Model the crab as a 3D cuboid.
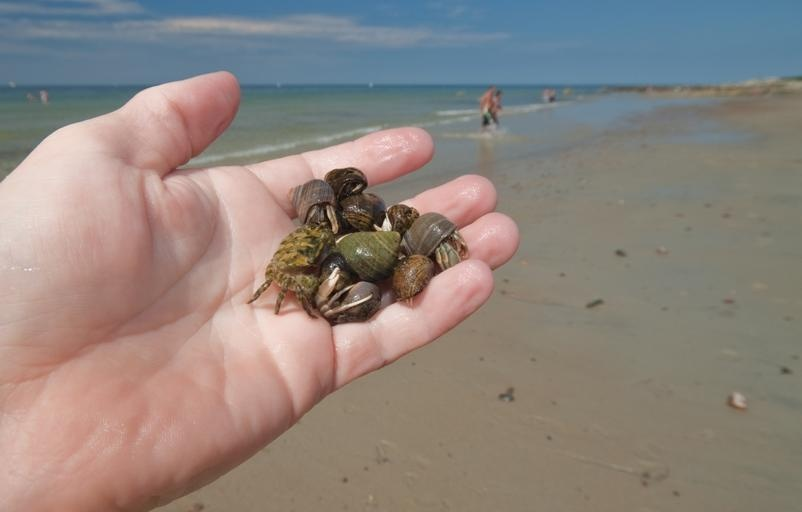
[{"bbox_3d":[-1.078,0.006,6.574,0.935,0.401,1.235,5,51,12],"label":"crab"}]
